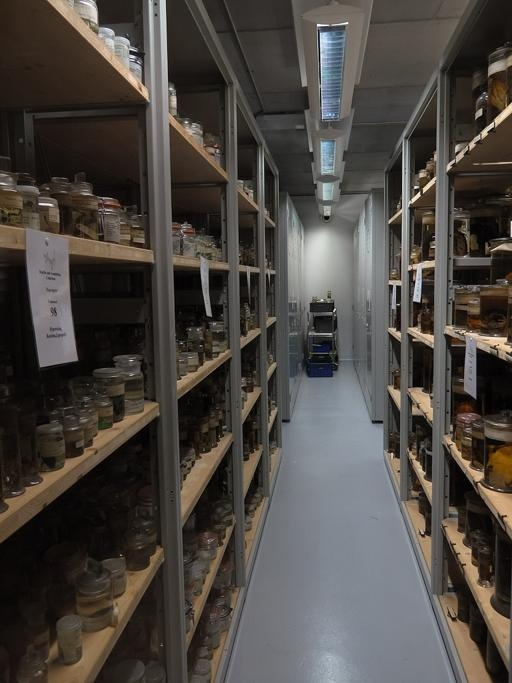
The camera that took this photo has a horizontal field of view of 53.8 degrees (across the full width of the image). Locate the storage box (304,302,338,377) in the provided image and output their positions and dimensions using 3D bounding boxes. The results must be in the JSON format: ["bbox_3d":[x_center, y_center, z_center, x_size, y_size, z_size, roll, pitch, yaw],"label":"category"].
[{"bbox_3d":[1.138,-0.019,8.725,0.358,1.093,1.095,0,6,6],"label":"storage box"}]

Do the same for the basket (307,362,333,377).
[{"bbox_3d":[1.036,0.465,8.226,0.399,0.232,0.266,-1,5,12],"label":"basket"}]
